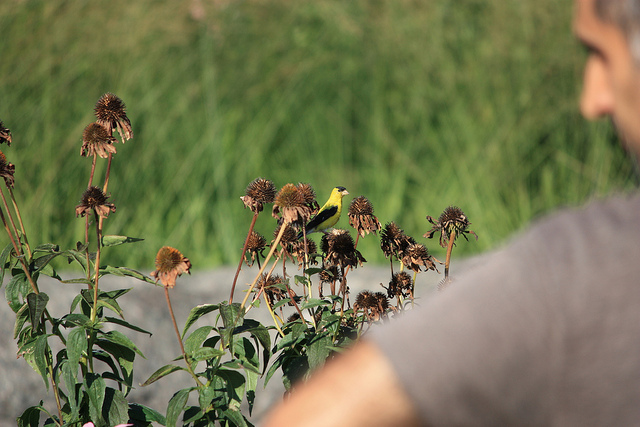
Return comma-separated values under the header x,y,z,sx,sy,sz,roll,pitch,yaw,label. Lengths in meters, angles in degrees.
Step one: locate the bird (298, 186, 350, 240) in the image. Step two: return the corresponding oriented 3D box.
x,y,z,sx,sy,sz,roll,pitch,yaw,label
0.009,0.002,6.126,0.311,0.162,0.323,-4,74,2,bird
